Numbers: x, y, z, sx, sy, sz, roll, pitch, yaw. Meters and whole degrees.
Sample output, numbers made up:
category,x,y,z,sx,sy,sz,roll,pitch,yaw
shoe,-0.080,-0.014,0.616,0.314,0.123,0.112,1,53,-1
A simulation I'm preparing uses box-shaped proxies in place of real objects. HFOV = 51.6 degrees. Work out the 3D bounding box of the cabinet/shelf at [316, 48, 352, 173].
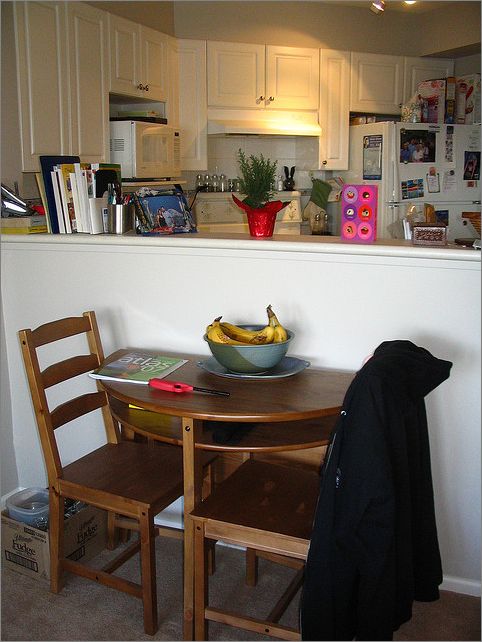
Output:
category,x,y,z,sx,sy,sz,roll,pitch,yaw
cabinet/shelf,0.819,-1.832,4.328,0.275,0.956,0.220,0,6,4

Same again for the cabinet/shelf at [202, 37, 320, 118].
category,x,y,z,sx,sy,sz,roll,pitch,yaw
cabinet/shelf,0.174,-2.011,4.190,0.976,0.495,0.361,-4,16,-14

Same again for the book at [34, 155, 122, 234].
category,x,y,z,sx,sy,sz,roll,pitch,yaw
book,-0.586,-0.466,2.021,0.260,0.371,0.371,4,16,14

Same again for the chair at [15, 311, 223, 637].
category,x,y,z,sx,sy,sz,roll,pitch,yaw
chair,-0.334,0.293,2.056,0.769,1.463,0.761,6,14,20

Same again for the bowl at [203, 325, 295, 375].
category,x,y,z,sx,sy,sz,roll,pitch,yaw
bowl,0.028,0.085,1.362,0.239,0.092,0.252,-1,11,0

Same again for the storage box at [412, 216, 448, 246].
category,x,y,z,sx,sy,sz,roll,pitch,yaw
storage box,0.568,-0.262,1.494,0.090,0.081,0.130,2,7,22

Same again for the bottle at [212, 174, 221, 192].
category,x,y,z,sx,sy,sz,roll,pitch,yaw
bottle,-0.199,-1.135,4.122,0.068,0.146,0.153,-1,6,-2

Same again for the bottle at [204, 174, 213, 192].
category,x,y,z,sx,sy,sz,roll,pitch,yaw
bottle,-0.265,-1.143,4.139,0.083,0.163,0.225,-1,6,-4

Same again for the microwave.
category,x,y,z,sx,sy,sz,roll,pitch,yaw
microwave,-0.669,-1.181,3.446,0.266,0.339,0.556,11,21,24

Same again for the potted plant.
category,x,y,z,sx,sy,sz,roll,pitch,yaw
potted plant,0.069,-0.452,1.801,0.184,0.293,0.163,10,25,25

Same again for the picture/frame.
category,x,y,z,sx,sy,sz,roll,pitch,yaw
picture/frame,-0.280,-0.408,1.839,0.250,0.197,0.215,-4,7,-27

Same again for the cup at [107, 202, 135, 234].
category,x,y,z,sx,sy,sz,roll,pitch,yaw
cup,-0.439,-0.379,1.834,0.108,0.127,0.112,0,6,0
